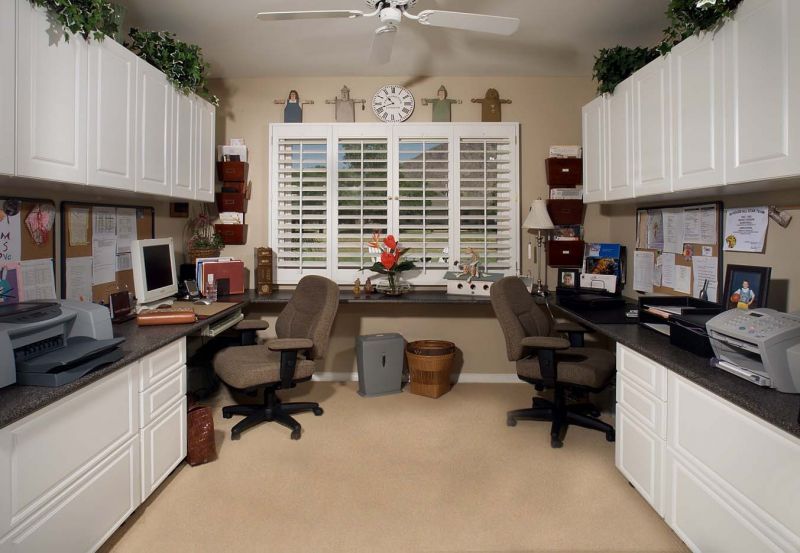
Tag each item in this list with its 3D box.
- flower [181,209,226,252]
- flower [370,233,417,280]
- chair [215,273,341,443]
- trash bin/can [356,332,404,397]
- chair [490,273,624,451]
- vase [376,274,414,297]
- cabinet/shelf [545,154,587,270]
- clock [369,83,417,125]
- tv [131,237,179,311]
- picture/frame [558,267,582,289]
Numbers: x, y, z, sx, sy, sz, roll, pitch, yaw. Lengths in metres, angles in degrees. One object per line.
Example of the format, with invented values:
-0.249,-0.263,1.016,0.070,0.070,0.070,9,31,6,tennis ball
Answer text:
-1.771,-0.424,4.913,0.343,0.271,0.337,0,33,-33,flower
-0.071,-0.120,4.780,0.296,0.268,0.336,8,15,40,flower
-0.964,0.601,4.230,0.955,1.099,0.965,1,5,-7,chair
-0.171,0.755,4.704,0.498,0.480,0.300,-2,4,-18,trash bin/can
1.172,0.583,4.175,0.830,1.105,0.930,-2,5,-39,chair
-0.080,0.086,4.909,0.228,0.111,0.231,1,2,43,vase
1.485,-0.579,4.958,0.342,1.035,0.348,0,8,19,cabinet/shelf
-0.066,-1.555,5.000,0.382,0.378,0.039,-1,-10,1,clock
-1.788,-0.015,3.967,0.187,0.494,0.495,-1,5,6,tv
1.518,0.012,4.895,0.102,0.177,0.184,-1,2,-40,picture/frame
